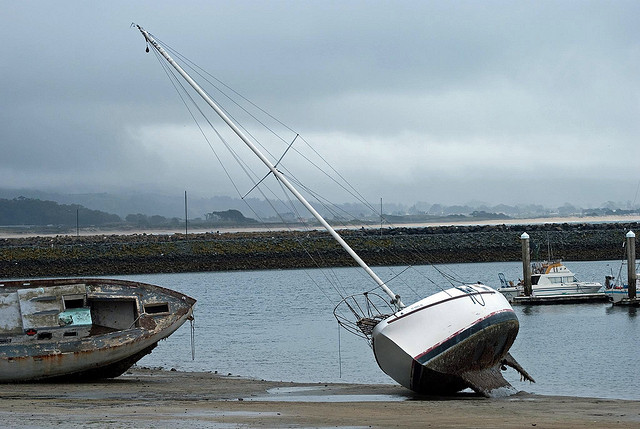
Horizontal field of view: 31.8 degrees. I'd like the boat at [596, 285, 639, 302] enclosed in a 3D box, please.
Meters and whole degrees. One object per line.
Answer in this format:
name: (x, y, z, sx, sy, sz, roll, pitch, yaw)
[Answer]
boat: (19.965, 5.380, 76.264, 1.173, 1.270, 4.220, -16, -18, 35)
